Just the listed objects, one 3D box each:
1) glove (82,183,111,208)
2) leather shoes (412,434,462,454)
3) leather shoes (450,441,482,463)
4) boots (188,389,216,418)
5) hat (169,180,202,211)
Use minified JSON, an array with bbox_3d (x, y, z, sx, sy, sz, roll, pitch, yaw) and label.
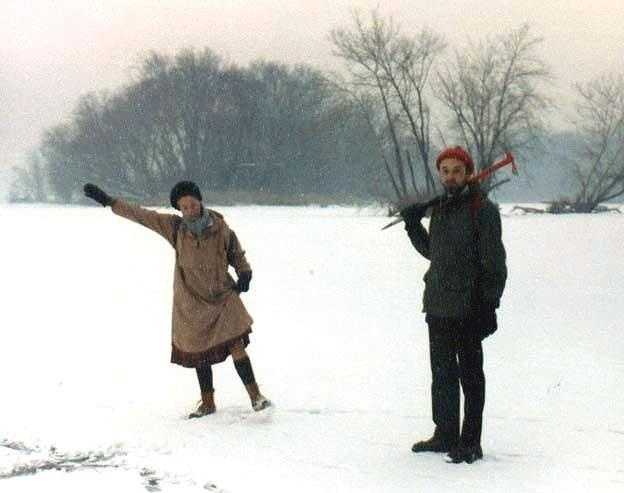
[{"bbox_3d":[-2.518,-0.583,12.335,0.311,0.197,0.421,-5,3,-13],"label":"glove"},{"bbox_3d":[1.421,2.207,11.796,0.572,0.282,0.185,-1,-4,12],"label":"leather shoes"},{"bbox_3d":[1.709,2.295,11.721,0.182,0.153,0.256,2,-1,-9],"label":"leather shoes"},{"bbox_3d":[-1.273,1.876,12.397,0.402,0.428,0.184,0,-3,3],"label":"boots"},{"bbox_3d":[-1.515,-0.575,12.288,0.327,0.328,0.280,4,13,43],"label":"hat"}]
